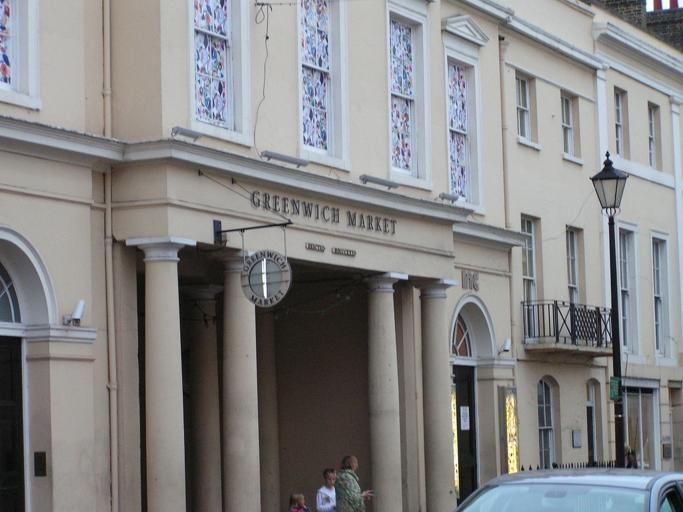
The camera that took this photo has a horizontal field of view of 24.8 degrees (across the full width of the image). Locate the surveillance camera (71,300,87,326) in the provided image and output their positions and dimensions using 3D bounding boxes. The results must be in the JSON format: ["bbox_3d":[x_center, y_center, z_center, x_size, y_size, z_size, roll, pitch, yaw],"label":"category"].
[{"bbox_3d":[-4.368,0.939,25.906,0.292,0.423,0.177,6,-10,-39],"label":"surveillance camera"}]
